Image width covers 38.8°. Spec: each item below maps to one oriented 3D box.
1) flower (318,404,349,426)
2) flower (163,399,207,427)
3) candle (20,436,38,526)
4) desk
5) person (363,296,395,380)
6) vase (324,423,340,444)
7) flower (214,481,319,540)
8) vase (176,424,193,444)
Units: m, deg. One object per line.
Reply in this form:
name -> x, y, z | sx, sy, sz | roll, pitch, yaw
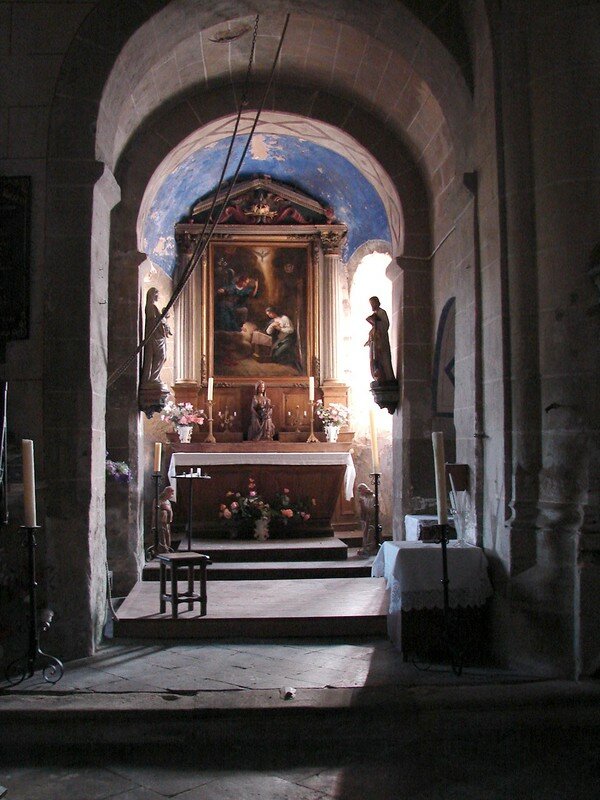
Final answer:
flower -> 0.398, 0.156, 10.178 | 0.266, 0.218, 0.268 | 2, -12, 39
flower -> -1.367, 0.150, 10.007 | 0.490, 0.327, 0.666 | -2, -3, -7
candle -> -1.347, 0.418, 4.226 | 0.052, 0.432, 0.218 | -1, -3, -19
desk -> 0.798, 1.142, 5.189 | 0.678, 0.678, 0.860 | -1, 5, 3
person -> 0.753, -0.571, 8.068 | 0.255, 0.869, 0.507 | -2, -3, 5
vase -> 0.370, 0.405, 10.019 | 0.174, 0.225, 0.188 | 1, -1, -4
flower -> -0.387, 1.253, 8.704 | 0.896, 0.603, 0.937 | -7, 2, -4
vase -> -1.334, 0.410, 9.738 | 0.211, 0.288, 0.185 | 4, -17, -18
